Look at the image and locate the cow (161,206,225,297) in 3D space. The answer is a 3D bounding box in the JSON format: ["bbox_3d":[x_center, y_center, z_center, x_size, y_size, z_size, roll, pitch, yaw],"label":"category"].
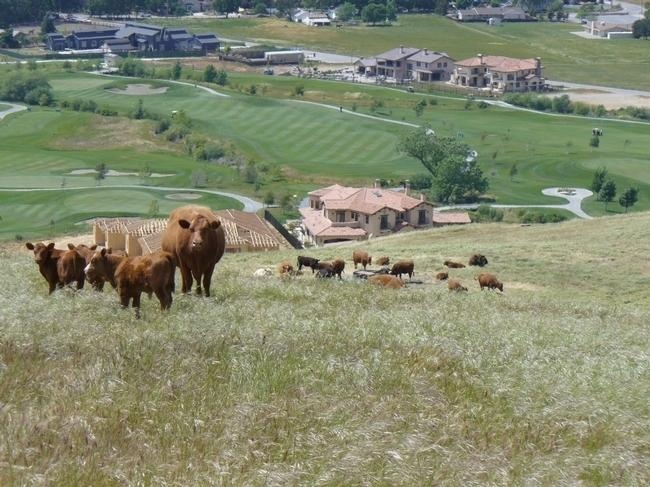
[{"bbox_3d":[-5.015,0.401,32.817,1.984,3.356,3.640,1,8,-20],"label":"cow"}]
